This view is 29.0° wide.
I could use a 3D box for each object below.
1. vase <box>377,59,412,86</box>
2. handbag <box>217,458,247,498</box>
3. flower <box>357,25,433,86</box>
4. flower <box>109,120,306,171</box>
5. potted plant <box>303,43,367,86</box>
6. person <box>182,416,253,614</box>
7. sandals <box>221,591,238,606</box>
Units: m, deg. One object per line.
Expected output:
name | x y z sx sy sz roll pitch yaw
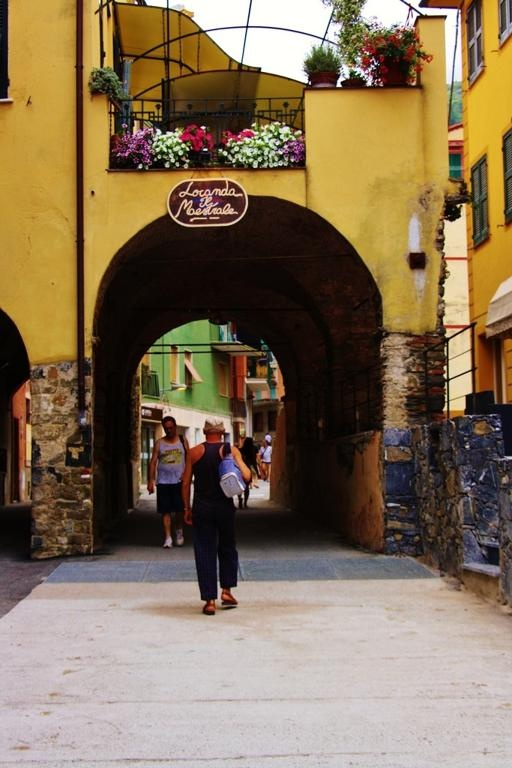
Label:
vase | 1.549 -3.474 11.170 0.285 0.248 0.282 1 -3 -11
handbag | -0.199 0.712 7.559 0.172 0.281 0.148 -33 -24 25
flower | 1.543 -3.704 11.157 0.796 0.669 0.412 -2 -4 8
flower | -0.589 -2.582 11.069 1.365 0.414 0.918 0 0 -3
potted plant | 0.866 -3.587 11.325 0.681 0.648 0.366 -2 -4 15
person | -0.317 1.016 7.709 0.507 1.460 0.617 -1 -4 -5
sandals | -0.217 1.697 7.872 0.063 0.108 0.205 0 -3 12
